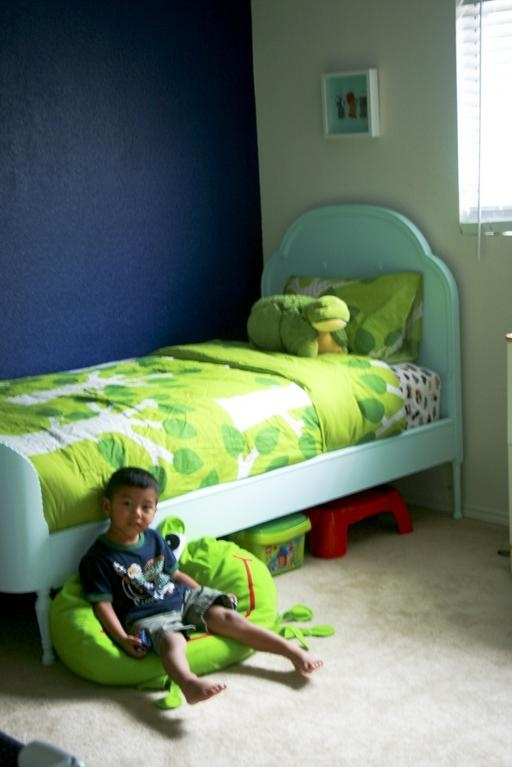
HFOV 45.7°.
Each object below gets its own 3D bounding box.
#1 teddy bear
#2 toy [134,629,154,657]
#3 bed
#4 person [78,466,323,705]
[{"bbox_3d":[0.202,-0.282,2.809,0.241,0.223,0.429,-17,17,-41],"label":"teddy bear"},{"bbox_3d":[-0.290,0.690,1.610,0.018,0.061,0.057,-13,12,2],"label":"toy"},{"bbox_3d":[-0.243,-0.063,2.678,2.016,1.665,1.228,-11,15,-39],"label":"bed"},{"bbox_3d":[-0.212,0.527,1.779,0.676,0.536,0.435,13,13,39],"label":"person"}]
